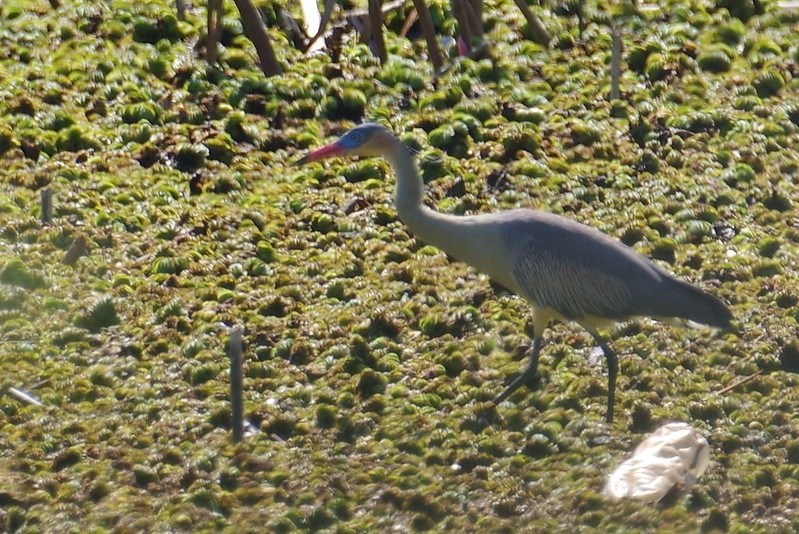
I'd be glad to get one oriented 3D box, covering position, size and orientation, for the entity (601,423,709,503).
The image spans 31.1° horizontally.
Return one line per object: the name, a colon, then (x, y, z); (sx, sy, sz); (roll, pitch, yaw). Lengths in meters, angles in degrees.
entity: (2.349, 1.779, 12.928); (0.868, 0.346, 0.597); (-35, 45, -22)
